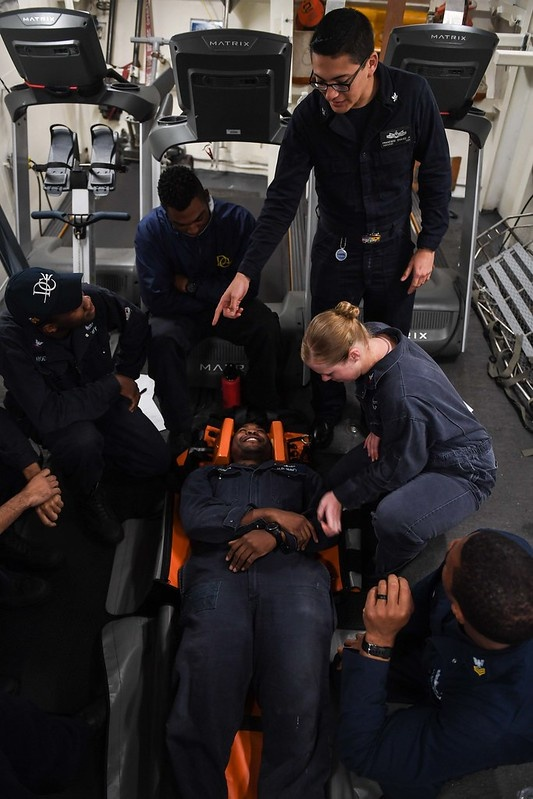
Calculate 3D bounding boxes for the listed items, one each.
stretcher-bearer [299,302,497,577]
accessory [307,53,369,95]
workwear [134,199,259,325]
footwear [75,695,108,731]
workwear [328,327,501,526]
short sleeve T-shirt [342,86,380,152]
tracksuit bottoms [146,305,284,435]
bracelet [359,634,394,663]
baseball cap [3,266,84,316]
[{"bbox_3d":[0.429,0.186,1.967,0.691,1.082,0.568,-5,28,13],"label":"stretcher-bearer"},{"bbox_3d":[0.204,-1.032,1.793,0.216,0.099,0.146,27,40,35],"label":"accessory"},{"bbox_3d":[-0.338,-0.696,2.818,0.566,0.541,0.322,-5,42,-5],"label":"workwear"},{"bbox_3d":[-0.517,0.946,1.703,0.060,0.039,0.106,-20,16,19],"label":"footwear"},{"bbox_3d":[0.427,0.078,1.930,0.610,0.573,0.513,-16,27,-21],"label":"workwear"},{"bbox_3d":[0.334,-0.983,2.026,0.093,0.110,0.158,-6,-4,-1],"label":"short sleeve T-shirt"},{"bbox_3d":[-0.264,-0.202,3.001,0.682,0.750,0.632,-3,-3,-2],"label":"tracksuit bottoms"},{"bbox_3d":[0.279,0.617,1.423,0.061,0.026,0.064,18,5,6],"label":"bracelet"},{"bbox_3d":[-0.808,-0.365,2.077,0.227,0.126,0.168,-12,65,2],"label":"baseball cap"}]
